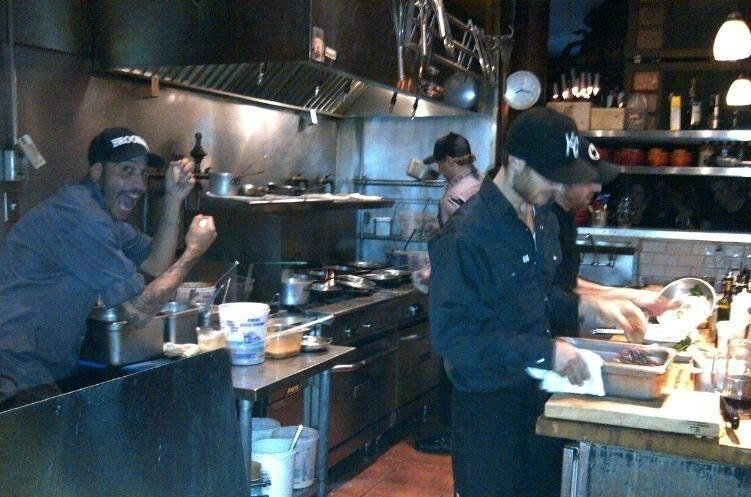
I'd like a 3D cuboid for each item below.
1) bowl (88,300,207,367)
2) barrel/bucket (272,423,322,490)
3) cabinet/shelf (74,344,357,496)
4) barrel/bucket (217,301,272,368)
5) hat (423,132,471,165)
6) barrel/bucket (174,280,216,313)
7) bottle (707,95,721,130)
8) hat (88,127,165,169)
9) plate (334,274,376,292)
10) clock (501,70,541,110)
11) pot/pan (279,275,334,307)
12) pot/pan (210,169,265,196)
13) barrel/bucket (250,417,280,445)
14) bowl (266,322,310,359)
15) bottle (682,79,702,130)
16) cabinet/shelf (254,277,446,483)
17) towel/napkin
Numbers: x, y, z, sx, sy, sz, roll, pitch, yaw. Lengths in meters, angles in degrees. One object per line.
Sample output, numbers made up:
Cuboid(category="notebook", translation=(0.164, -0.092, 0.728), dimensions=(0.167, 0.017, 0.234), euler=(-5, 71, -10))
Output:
Cuboid(category="bowl", translation=(-1.011, 0.345, 2.946), dimensions=(0.211, 0.118, 0.367), euler=(10, 17, 43))
Cuboid(category="barrel/bucket", translation=(-0.346, 1.062, 3.336), dimensions=(0.304, 0.276, 0.290), euler=(2, -2, 0))
Cuboid(category="cabinet/shelf", translation=(-0.633, 0.846, 3.096), dimensions=(1.041, 0.887, 0.987), euler=(-1, 6, 0))
Cuboid(category="barrel/bucket", translation=(-0.613, 0.397, 3.038), dimensions=(0.298, 0.280, 0.277), euler=(1, 2, 0))
Cuboid(category="hat", translation=(0.511, -0.720, 4.635), dimensions=(0.423, 0.221, 0.282), euler=(-3, 2, 8))
Cuboid(category="barrel/bucket", translation=(-0.884, 0.228, 3.155), dimensions=(0.139, 0.110, 0.132), euler=(2, 1, 0))
Cuboid(category="bottle", translation=(2.822, -1.142, 5.329), dimensions=(0.090, 0.279, 0.176), euler=(5, 8, 30))
Cuboid(category="hat", translation=(-1.132, -0.492, 2.896), dimensions=(0.203, 0.131, 0.281), euler=(-16, 30, -38))
Cuboid(category="plate", translation=(-0.137, 0.245, 4.517), dimensions=(0.191, 0.058, 0.132), euler=(23, -1, -34))
Cuboid(category="clock", translation=(1.196, -1.304, 5.242), dimensions=(0.272, 0.338, 0.343), euler=(2, 7, 11))
Cuboid(category="pot/pan", translation=(-0.477, 0.289, 4.091), dimensions=(0.349, 0.119, 0.199), euler=(-7, -3, -1))
Cuboid(category="pot/pan", translation=(-0.857, -0.388, 3.882), dimensions=(0.227, 0.125, 0.117), euler=(5, 4, 10))
Cuboid(category="barrel/bucket", translation=(-0.564, 0.908, 3.246), dimensions=(0.157, 0.102, 0.149), euler=(1, -1, 0))
Cuboid(category="bowl", translation=(-0.459, 0.457, 3.251), dimensions=(0.136, 0.086, 0.178), euler=(0, -3, 23))
Cuboid(category="bottle", translation=(2.671, -1.224, 5.375), dimensions=(0.135, 0.426, 0.174), euler=(5, 9, 33))
Cuboid(category="cabinet/shelf", translation=(-0.153, 0.860, 4.790), dimensions=(0.955, 0.918, 2.043), euler=(1, 2, 29))
Cuboid(category="towel/napkin", translation=(0.748, 0.444, 2.414), dimensions=(0.216, 0.071, 0.205), euler=(-2, -1, -26))
